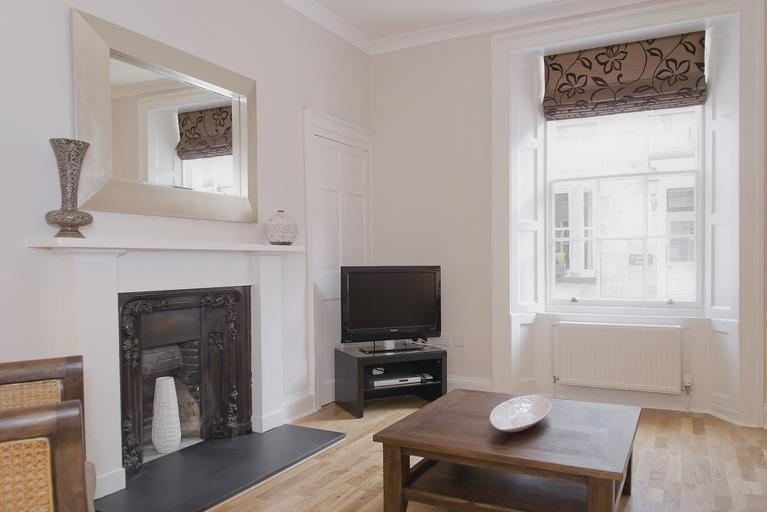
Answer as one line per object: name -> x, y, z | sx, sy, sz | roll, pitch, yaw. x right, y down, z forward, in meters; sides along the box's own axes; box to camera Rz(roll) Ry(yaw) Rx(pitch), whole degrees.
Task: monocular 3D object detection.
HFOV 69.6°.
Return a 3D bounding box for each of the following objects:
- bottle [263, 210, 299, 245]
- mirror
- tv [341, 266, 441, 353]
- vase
bottle -> -0.840, -0.216, 4.557 | 0.294, 0.325, 0.275 | 1, 0, 22
mirror -> -1.596, -0.992, 3.921 | 0.099, 1.415, 1.845 | -3, -5, 30
tv -> 0.056, 0.487, 5.203 | 0.845, 0.593, 0.086 | 0, 0, -21
vase -> -1.928, -0.418, 3.399 | 0.291, 0.596, 0.316 | -10, 16, -43
